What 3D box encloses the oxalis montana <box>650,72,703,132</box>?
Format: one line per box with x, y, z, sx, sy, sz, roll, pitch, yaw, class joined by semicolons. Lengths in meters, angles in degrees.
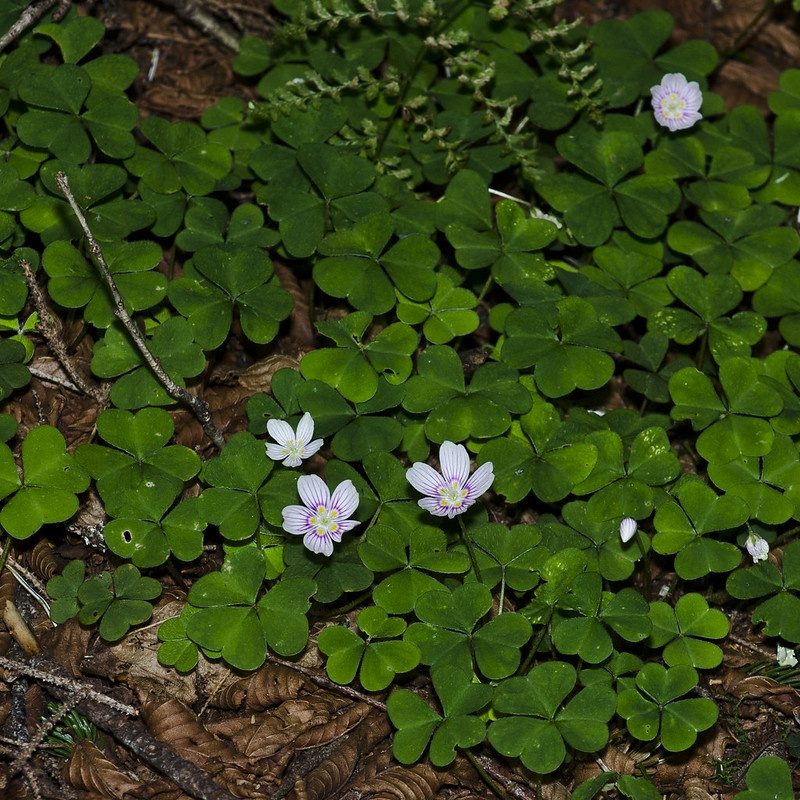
1.216;-1.331;4.036;0.230;0.224;0.140;37;38;29;oxalis montana

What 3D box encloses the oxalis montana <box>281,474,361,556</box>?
-0.252;0.389;3.157;0.277;0.082;0.259;22;34;25;oxalis montana

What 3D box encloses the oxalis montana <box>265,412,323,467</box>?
-0.384;0.157;3.321;0.265;0.125;0.237;-2;26;-32;oxalis montana

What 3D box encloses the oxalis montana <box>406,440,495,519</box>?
0.192;0.299;3.153;0.280;0.147;0.289;22;30;15;oxalis montana
